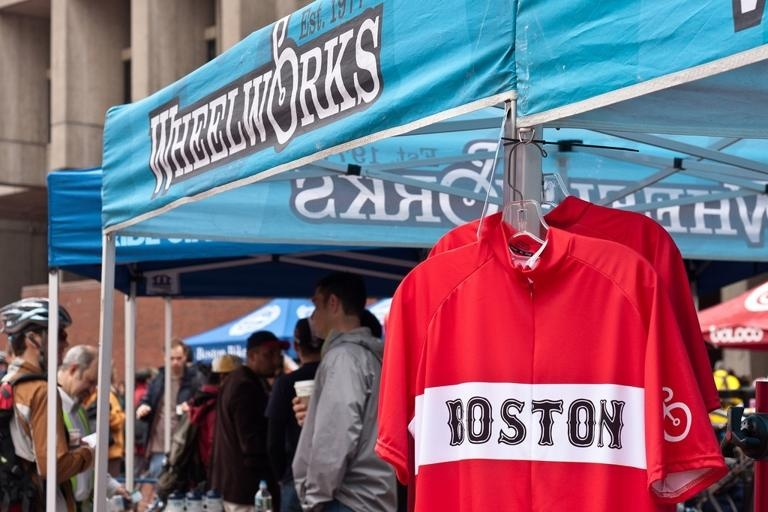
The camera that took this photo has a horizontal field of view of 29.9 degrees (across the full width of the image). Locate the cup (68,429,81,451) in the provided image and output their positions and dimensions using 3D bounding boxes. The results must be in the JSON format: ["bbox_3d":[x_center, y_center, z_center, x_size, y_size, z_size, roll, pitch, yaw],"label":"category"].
[{"bbox_3d":[-2.699,1.588,12.557,0.113,0.157,0.155,5,-14,-10],"label":"cup"}]

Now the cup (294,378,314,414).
[{"bbox_3d":[-0.657,1.119,11.656,0.130,0.224,0.229,6,-14,-14],"label":"cup"}]
